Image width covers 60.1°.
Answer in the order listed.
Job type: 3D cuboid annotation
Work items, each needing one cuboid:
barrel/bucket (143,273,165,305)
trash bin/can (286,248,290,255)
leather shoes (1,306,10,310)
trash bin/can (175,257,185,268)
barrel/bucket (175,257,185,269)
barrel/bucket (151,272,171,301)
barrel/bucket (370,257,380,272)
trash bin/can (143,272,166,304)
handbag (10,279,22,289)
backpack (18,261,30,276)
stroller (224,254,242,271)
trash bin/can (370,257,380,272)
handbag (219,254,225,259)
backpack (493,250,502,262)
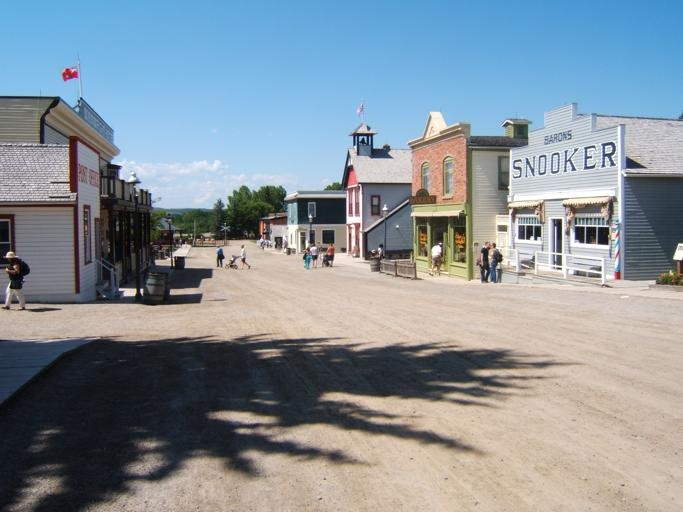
[{"bbox_3d":[-6.995,1.217,22.225,0.805,1.138,0.612,1,9,7],"label":"barrel/bucket"},{"bbox_3d":[-5.655,-0.436,64.010,0.481,0.613,0.513,0,-2,-7],"label":"trash bin/can"},{"bbox_3d":[-11.421,1.786,20.177,0.251,0.195,0.093,-2,8,-16],"label":"leather shoes"},{"bbox_3d":[-11.408,0.508,42.045,0.748,1.165,0.790,-1,0,-15],"label":"trash bin/can"},{"bbox_3d":[-11.277,0.516,42.007,0.847,0.939,0.884,0,2,0],"label":"barrel/bucket"},{"bbox_3d":[-6.880,1.217,22.387,0.836,1.007,0.903,0,-4,0],"label":"barrel/bucket"},{"bbox_3d":[2.302,0.603,39.664,0.724,0.869,0.775,-1,-3,0],"label":"barrel/bucket"},{"bbox_3d":[-6.937,1.228,22.108,0.915,1.113,1.026,1,-5,-5],"label":"trash bin/can"},{"bbox_3d":[-10.839,0.979,19.733,0.465,0.376,0.274,2,-5,-19],"label":"handbag"},{"bbox_3d":[-10.710,0.436,20.043,0.387,0.458,0.446,-1,-4,0],"label":"backpack"},{"bbox_3d":[-8.997,0.591,49.540,1.042,1.886,1.376,-4,-8,43],"label":"stroller"},{"bbox_3d":[2.277,0.620,39.663,0.717,0.860,0.766,-1,-2,-3],"label":"trash bin/can"},{"bbox_3d":[-9.146,0.034,45.978,0.400,0.409,0.695,0,-3,-14],"label":"handbag"},{"bbox_3d":[7.860,-0.013,29.604,0.353,0.631,0.913,4,10,25],"label":"backpack"}]
